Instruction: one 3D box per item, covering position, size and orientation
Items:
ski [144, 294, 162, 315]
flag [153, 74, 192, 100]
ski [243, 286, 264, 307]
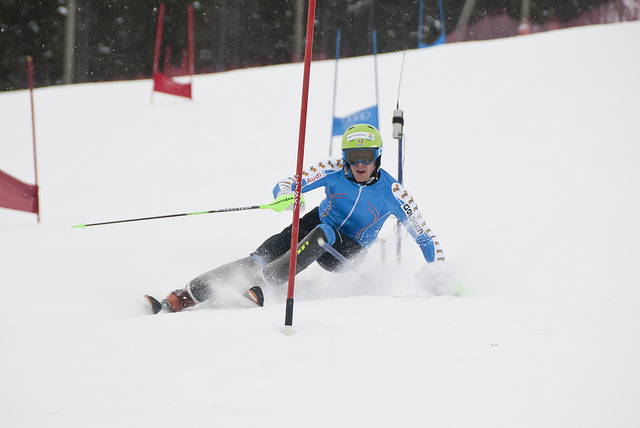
[{"bbox_3d":[-1.690,0.886,7.554,0.188,0.058,0.130,42,-9,27],"label":"ski"},{"bbox_3d":[-2.293,-2.037,11.902,0.797,0.291,0.015,17,11,32],"label":"flag"},{"bbox_3d":[-0.690,0.828,7.678,0.213,0.190,0.099,1,5,4],"label":"ski"}]
